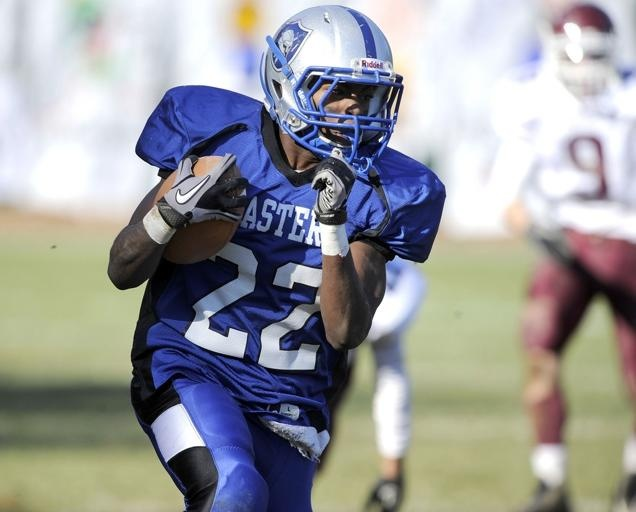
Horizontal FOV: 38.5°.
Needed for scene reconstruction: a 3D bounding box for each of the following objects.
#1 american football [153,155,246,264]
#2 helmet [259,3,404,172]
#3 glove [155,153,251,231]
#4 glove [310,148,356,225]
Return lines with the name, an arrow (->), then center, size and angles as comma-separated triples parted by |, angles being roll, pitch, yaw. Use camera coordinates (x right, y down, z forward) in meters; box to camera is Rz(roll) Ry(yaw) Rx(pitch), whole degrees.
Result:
american football -> -0.359, -0.192, 3.060 | 0.213, 0.100, 0.291 | -22, -17, 17
helmet -> 0.029, -0.615, 3.334 | 0.465, 0.525, 0.621 | -1, 30, -35
glove -> -0.369, -0.199, 2.962 | 0.277, 0.123, 0.220 | -41, 65, -20
glove -> 0.051, -0.219, 2.950 | 0.128, 0.225, 0.098 | 28, -13, -26
